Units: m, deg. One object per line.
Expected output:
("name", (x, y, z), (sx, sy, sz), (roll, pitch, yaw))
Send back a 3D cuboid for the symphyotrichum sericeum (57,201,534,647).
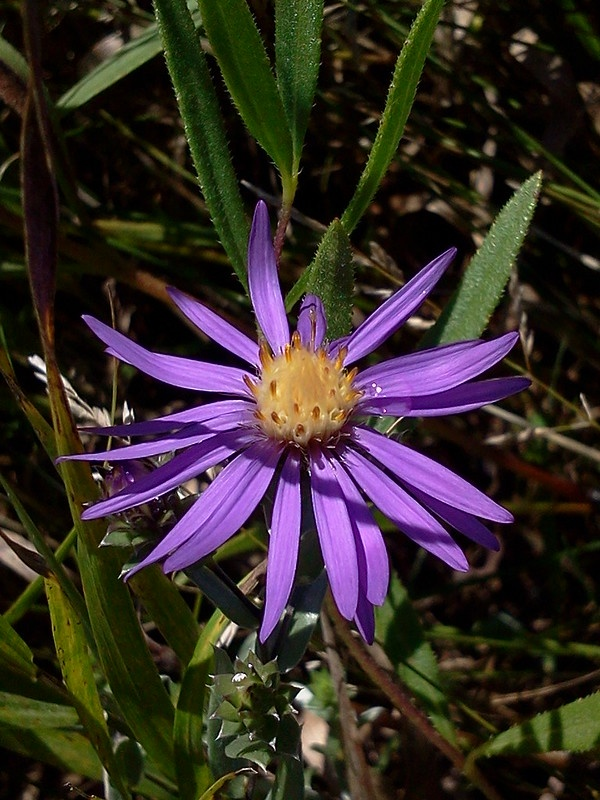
("symphyotrichum sericeum", (0.015, 0.045, 0.932), (0.672, 0.238, 0.605), (6, 53, -2))
